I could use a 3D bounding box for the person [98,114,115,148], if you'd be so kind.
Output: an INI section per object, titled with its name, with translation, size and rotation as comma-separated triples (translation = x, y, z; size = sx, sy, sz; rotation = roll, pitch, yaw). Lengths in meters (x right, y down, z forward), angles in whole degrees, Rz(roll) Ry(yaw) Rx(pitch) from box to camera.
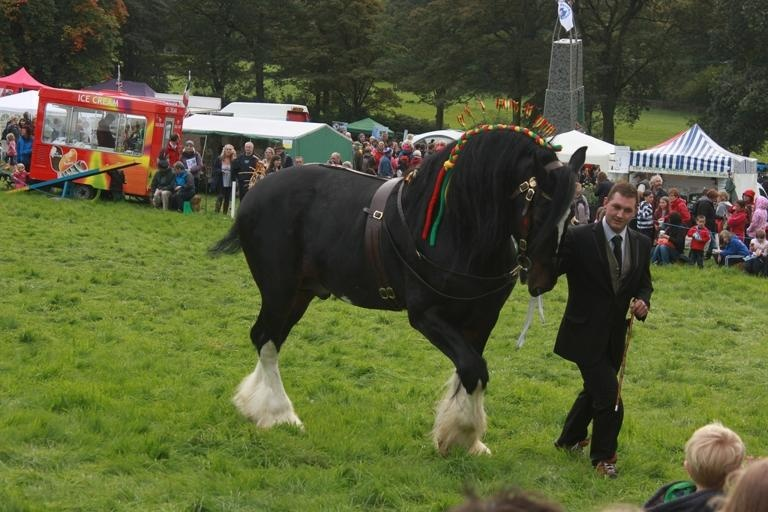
[person]
translation = -8.210, -3.645, 27.724
size = 0.595, 0.974, 0.188
rotation = 7, 7, 21

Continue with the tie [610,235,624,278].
[tie]
translation = 3.765, 0.005, 15.283
size = 0.153, 0.654, 0.174
rotation = -1, -8, 0

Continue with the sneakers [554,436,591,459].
[sneakers]
translation = 3.127, 3.164, 15.655
size = 0.398, 0.163, 0.298
rotation = 7, -37, 4

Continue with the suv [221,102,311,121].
[suv]
translation = -5.170, -6.414, 42.211
size = 3.118, 0.739, 1.896
rotation = 8, 9, 21
